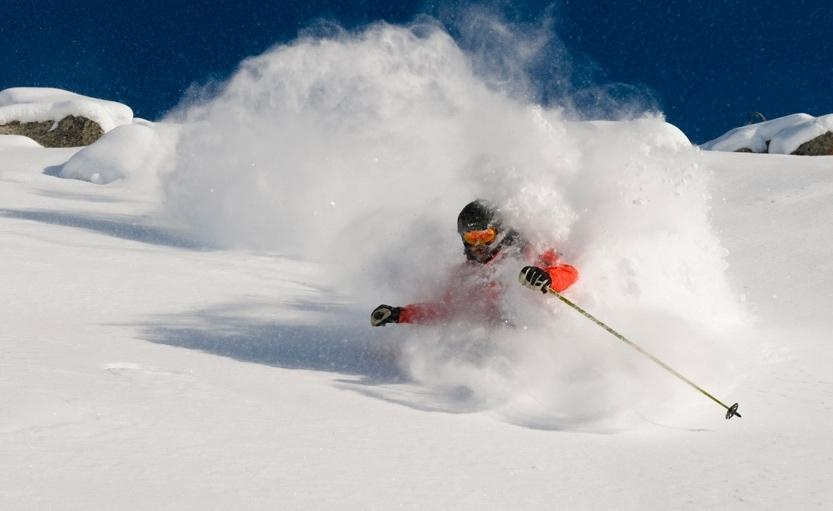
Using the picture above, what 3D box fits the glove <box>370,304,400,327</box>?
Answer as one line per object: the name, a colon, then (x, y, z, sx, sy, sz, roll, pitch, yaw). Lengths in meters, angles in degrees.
glove: (-0.680, 1.345, 35.434, 0.445, 0.226, 0.599, 3, 8, 45)
